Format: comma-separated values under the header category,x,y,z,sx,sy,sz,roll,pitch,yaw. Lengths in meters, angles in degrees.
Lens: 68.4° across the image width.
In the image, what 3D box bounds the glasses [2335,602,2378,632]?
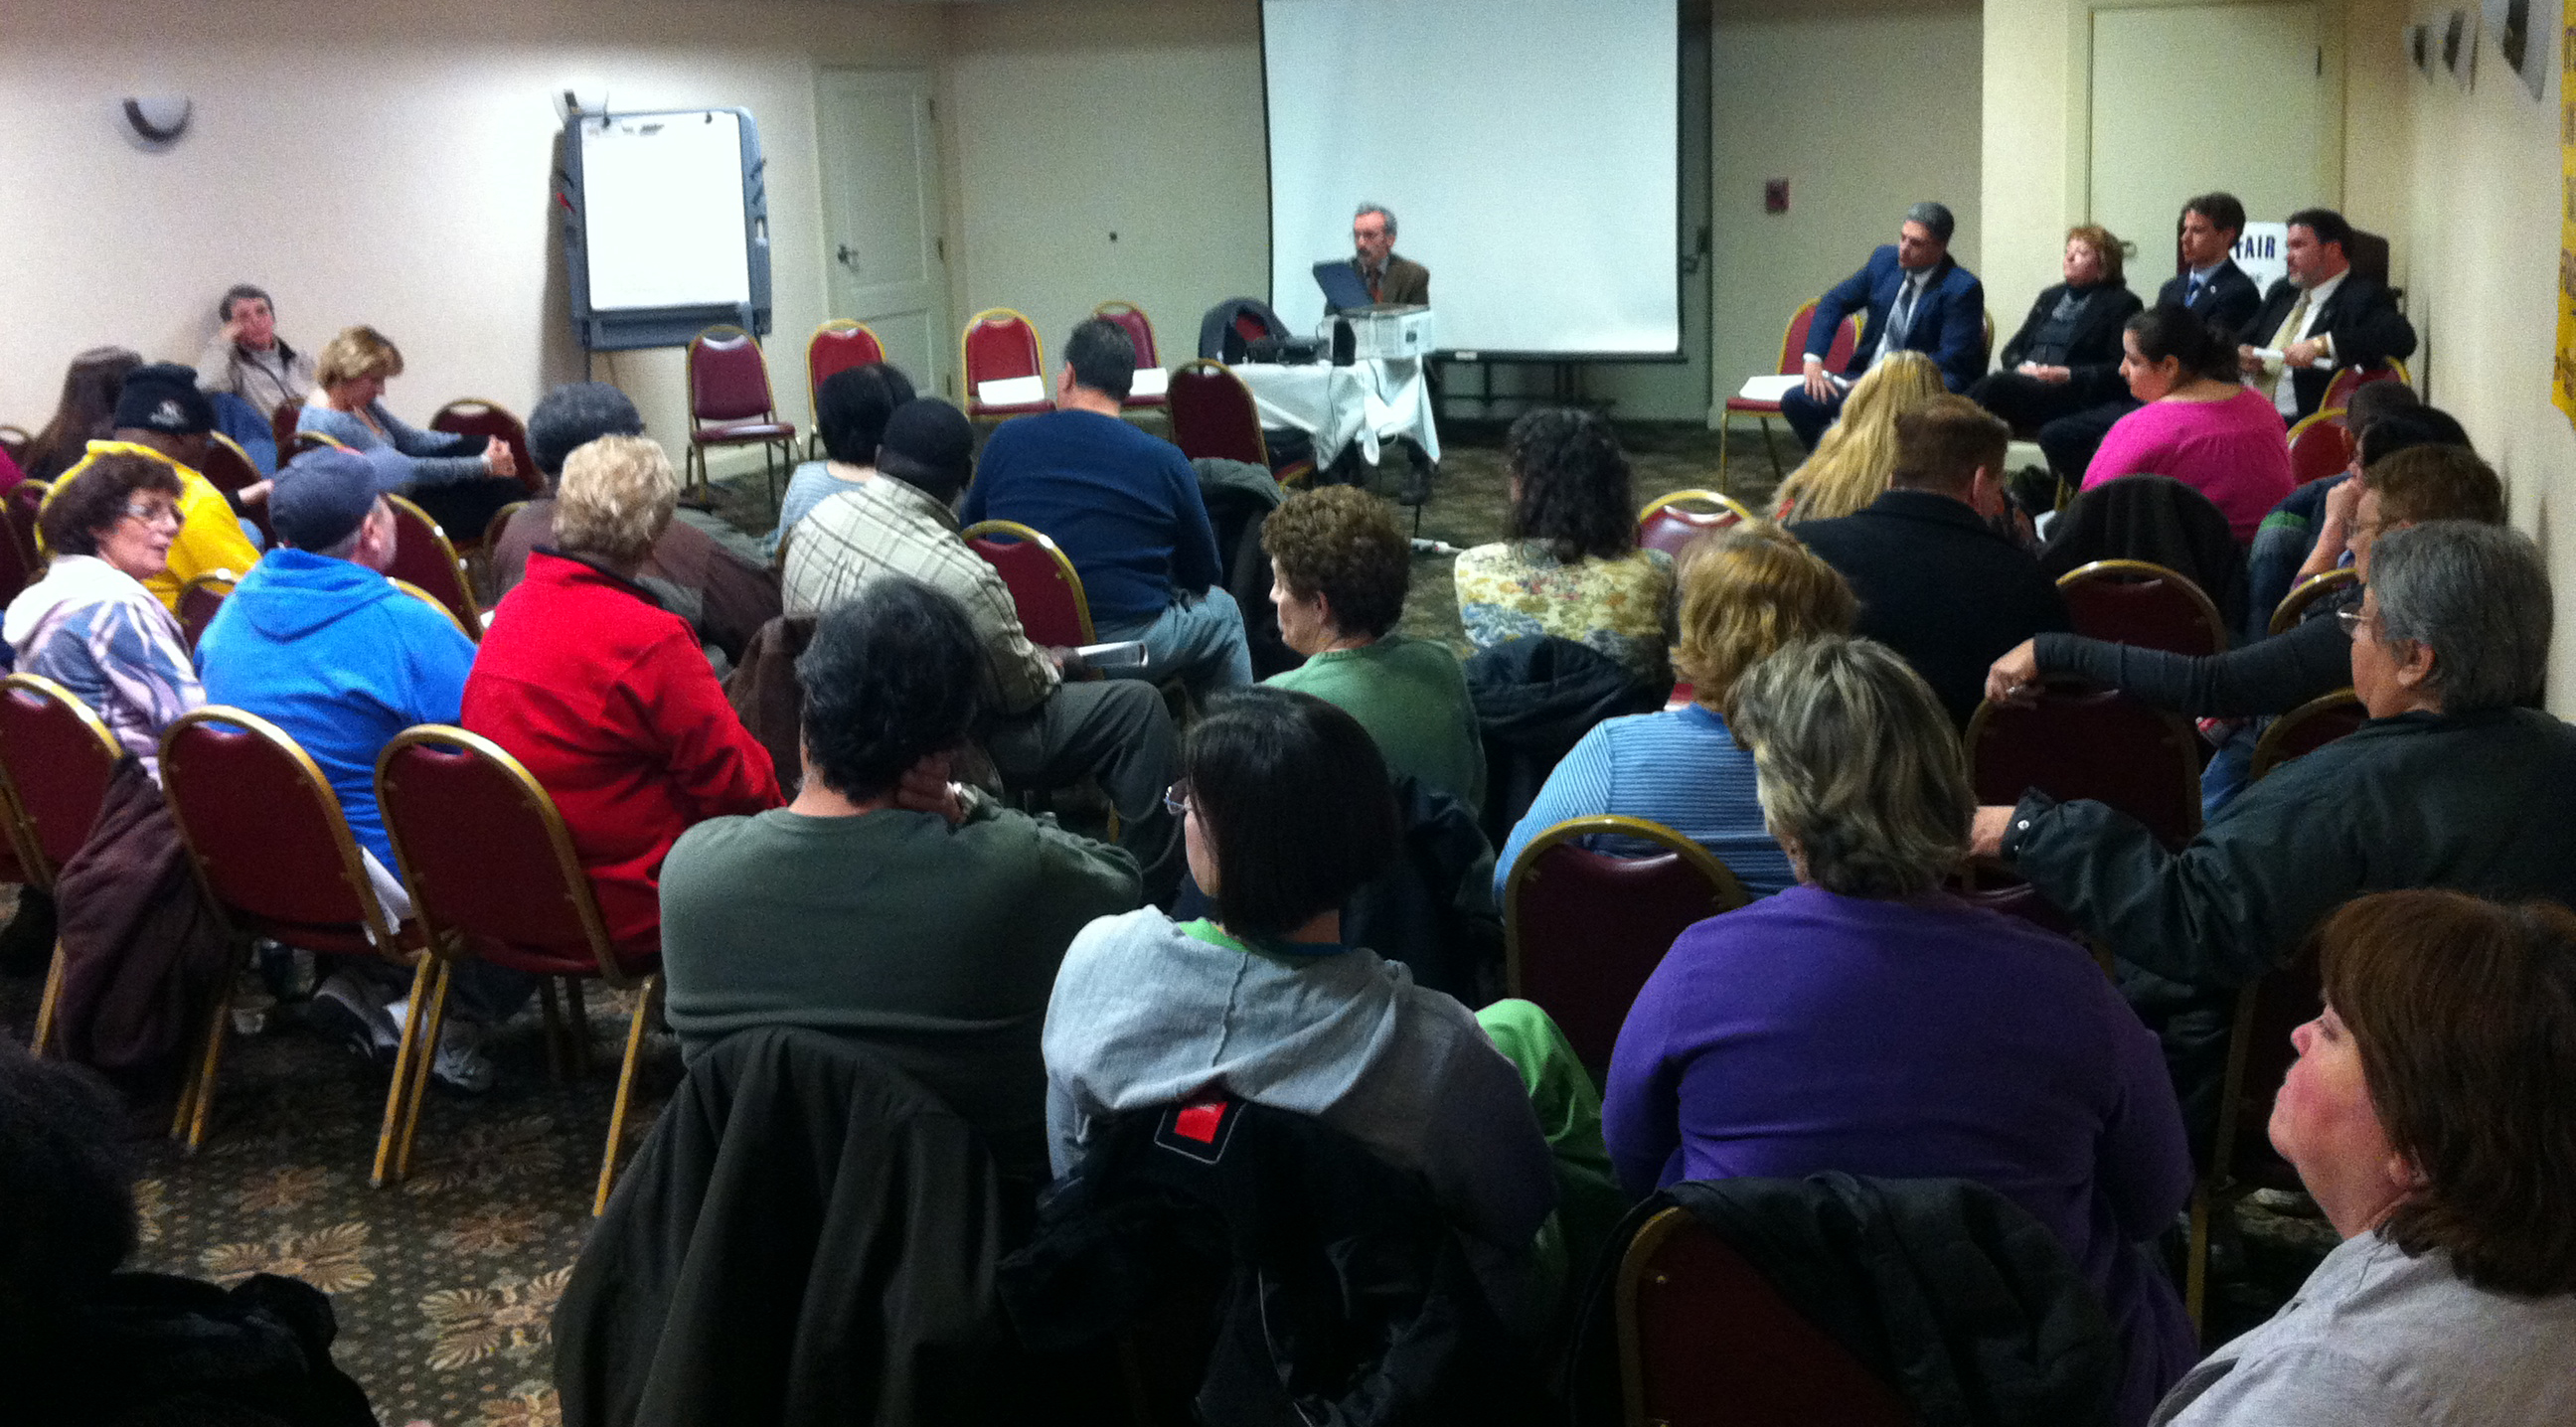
category,x,y,z,sx,sy,sz,roll,pitch,yaw
glasses,2.307,-0.209,4.125,0.065,0.068,0.025,16,-17,-13

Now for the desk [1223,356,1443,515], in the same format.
category,x,y,z,sx,sy,sz,roll,pitch,yaw
desk,0.320,-1.514,9.692,0.794,0.423,0.675,9,24,25

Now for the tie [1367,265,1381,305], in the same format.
category,x,y,z,sx,sy,sz,roll,pitch,yaw
tie,0.482,-2.414,10.690,0.127,0.182,0.064,-2,-2,11

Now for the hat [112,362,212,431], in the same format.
category,x,y,z,sx,sy,sz,roll,pitch,yaw
hat,-4.163,-1.179,7.052,0.320,0.212,0.238,5,4,32

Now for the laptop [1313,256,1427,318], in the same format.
category,x,y,z,sx,sy,sz,roll,pitch,yaw
laptop,0.446,-2.375,10.383,0.369,0.326,0.665,8,18,30

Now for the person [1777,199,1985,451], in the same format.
category,x,y,z,sx,sy,sz,roll,pitch,yaw
person,2.975,-1.764,9.479,0.908,1.446,0.801,-18,30,-28

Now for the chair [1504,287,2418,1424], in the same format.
category,x,y,z,sx,sy,sz,roll,pitch,yaw
chair,1.091,0.428,3.805,1.300,1.973,1.248,-1,7,10
